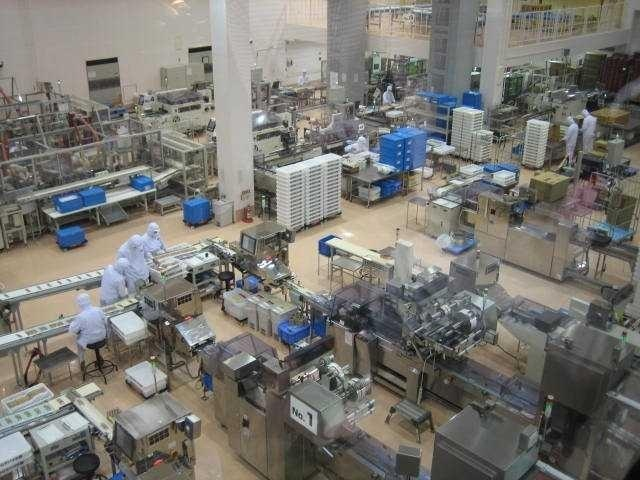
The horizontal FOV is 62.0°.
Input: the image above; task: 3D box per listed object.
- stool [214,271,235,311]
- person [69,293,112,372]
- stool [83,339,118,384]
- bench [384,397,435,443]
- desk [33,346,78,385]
[{"bbox_3d":[-2.553,1.365,14.115,0.554,0.839,0.565,-15,35,-35],"label":"stool"},{"bbox_3d":[-5.166,2.082,11.972,0.790,1.825,0.873,-14,24,-28],"label":"person"},{"bbox_3d":[-5.001,2.790,12.114,0.591,0.795,0.631,8,27,6],"label":"stool"},{"bbox_3d":[1.832,3.548,10.748,1.010,0.478,0.651,16,29,37],"label":"bench"},{"bbox_3d":[-5.834,2.805,11.755,0.357,0.463,0.663,38,45,28],"label":"desk"}]
